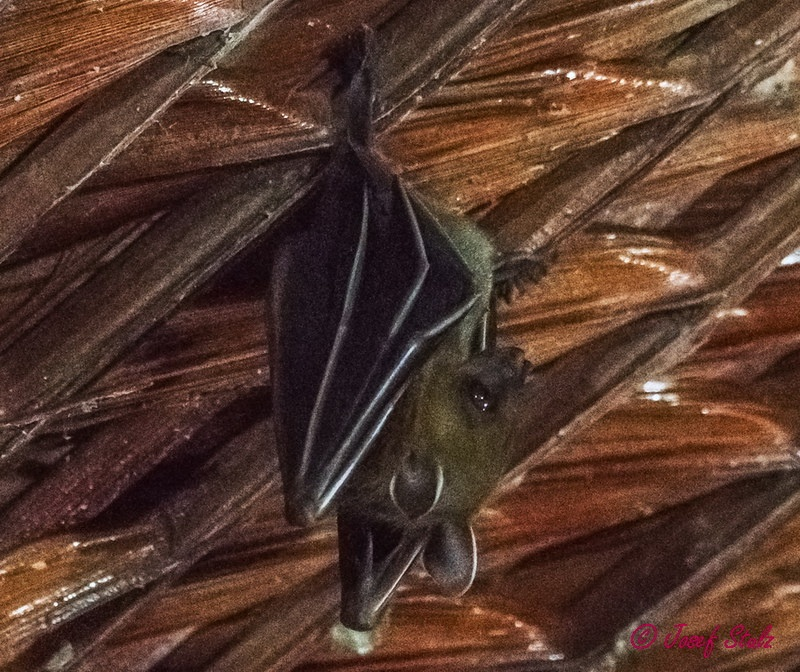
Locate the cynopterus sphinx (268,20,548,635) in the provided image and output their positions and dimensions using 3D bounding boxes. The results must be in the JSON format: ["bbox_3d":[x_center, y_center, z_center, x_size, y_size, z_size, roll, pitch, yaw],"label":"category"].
[{"bbox_3d":[0.006,-0.021,2.100,0.509,0.888,0.279,-15,22,-8],"label":"cynopterus sphinx"}]
